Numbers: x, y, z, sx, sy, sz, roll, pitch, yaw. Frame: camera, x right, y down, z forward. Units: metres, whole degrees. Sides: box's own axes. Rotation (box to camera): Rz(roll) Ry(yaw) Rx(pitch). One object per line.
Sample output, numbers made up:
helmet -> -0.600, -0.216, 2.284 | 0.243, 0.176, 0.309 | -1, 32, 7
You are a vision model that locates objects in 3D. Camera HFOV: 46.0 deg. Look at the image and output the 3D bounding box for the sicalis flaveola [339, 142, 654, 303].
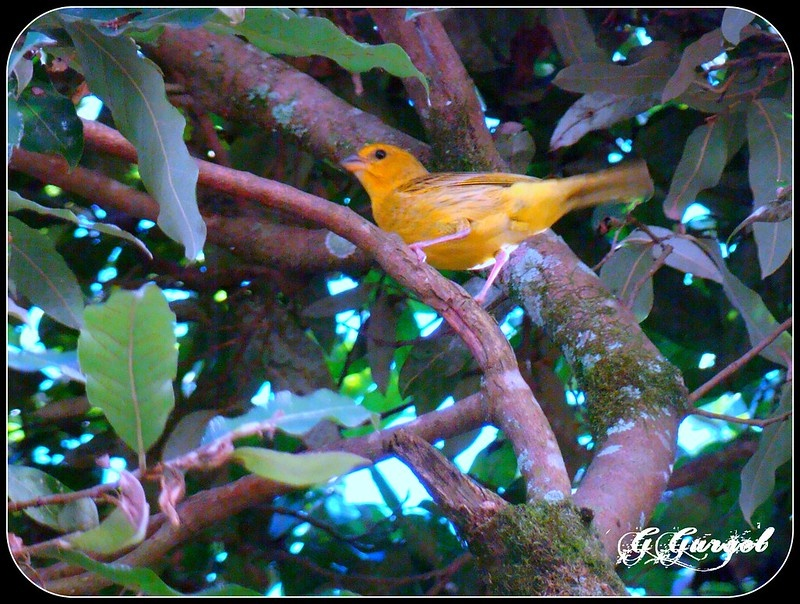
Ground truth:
sicalis flaveola -> 0.227, -0.248, 3.037 | 1.031, 0.421, 0.484 | 14, 63, 12
